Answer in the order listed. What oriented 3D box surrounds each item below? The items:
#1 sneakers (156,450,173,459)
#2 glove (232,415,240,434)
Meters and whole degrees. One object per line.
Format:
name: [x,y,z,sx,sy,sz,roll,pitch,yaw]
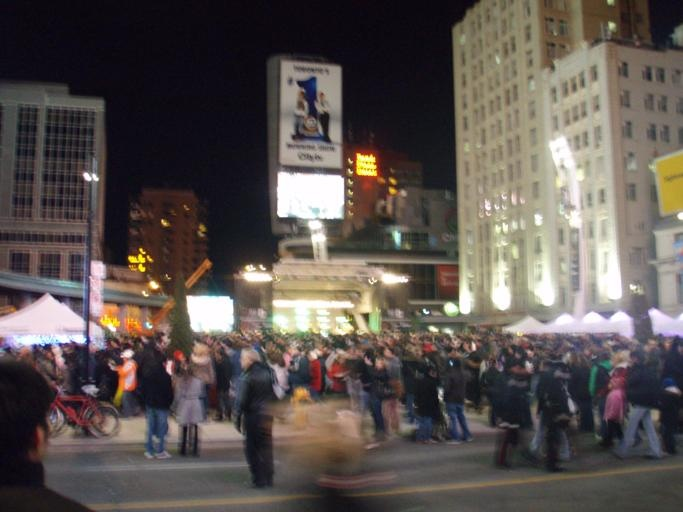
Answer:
sneakers: [-4.956,5.551,22.119,0.460,0.219,0.156,2,-5,-12]
glove: [-2.625,4.179,19.803,0.122,0.374,0.375,1,-7,-17]
